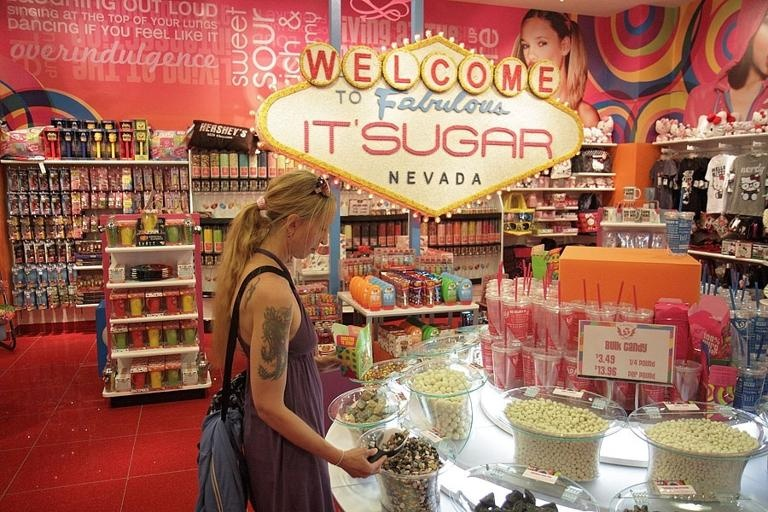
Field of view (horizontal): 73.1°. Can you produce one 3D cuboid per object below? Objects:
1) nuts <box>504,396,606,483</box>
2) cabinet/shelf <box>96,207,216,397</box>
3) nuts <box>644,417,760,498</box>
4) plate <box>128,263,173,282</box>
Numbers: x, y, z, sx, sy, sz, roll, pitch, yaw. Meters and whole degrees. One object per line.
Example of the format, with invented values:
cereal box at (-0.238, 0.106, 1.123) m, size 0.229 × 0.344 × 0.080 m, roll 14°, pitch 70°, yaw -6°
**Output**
nuts at (0.900, 0.993, 2.767) m, size 0.521 × 0.328 × 0.348 m, roll 6°, pitch 13°, yaw 23°
cabinet/shelf at (-2.466, 0.550, 5.523) m, size 1.277 × 2.752 × 0.729 m, roll -2°, pitch 7°, yaw -17°
nuts at (1.586, 1.005, 2.618) m, size 0.546 × 0.261 × 0.290 m, roll 2°, pitch 12°, yaw 5°
plate at (-2.488, 0.175, 5.488) m, size 0.434 × 0.149 × 0.193 m, roll -4°, pitch 13°, yaw -21°
